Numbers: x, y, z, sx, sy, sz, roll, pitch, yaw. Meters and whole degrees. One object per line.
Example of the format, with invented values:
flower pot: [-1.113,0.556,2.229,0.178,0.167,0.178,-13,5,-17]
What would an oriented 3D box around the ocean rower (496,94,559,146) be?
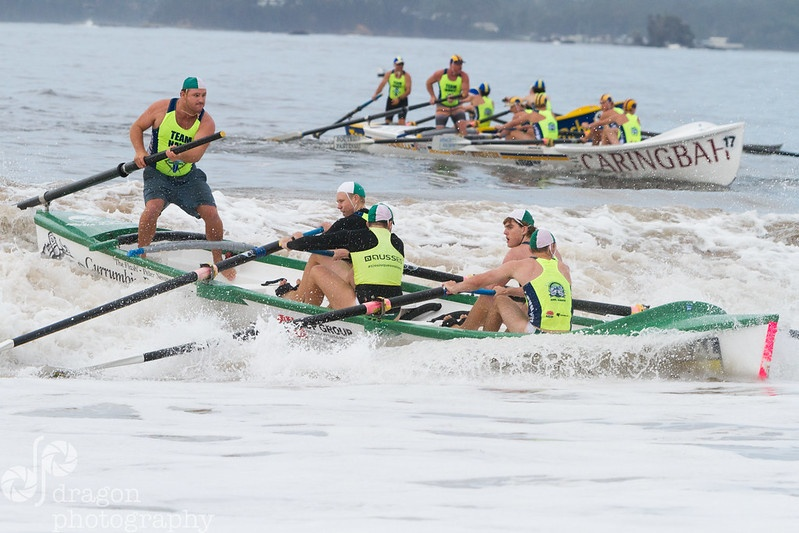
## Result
ocean rower: [2.620,-3.024,24.607,1.382,1.626,1.059,2,10,-2]

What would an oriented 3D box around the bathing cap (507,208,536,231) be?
bathing cap: [1.660,-0.613,14.468,0.338,0.169,0.227,29,-1,-38]

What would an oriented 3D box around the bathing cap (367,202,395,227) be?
bathing cap: [-0.266,-0.678,14.368,0.322,0.277,0.250,0,21,-2]

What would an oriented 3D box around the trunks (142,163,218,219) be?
trunks: [-3.262,-1.197,15.750,1.297,0.931,0.626,8,-1,-3]

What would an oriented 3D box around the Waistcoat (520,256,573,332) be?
Waistcoat: [1.866,0.367,13.775,0.617,0.873,0.482,3,22,5]

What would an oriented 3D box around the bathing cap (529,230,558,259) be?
bathing cap: [1.854,-0.336,14.006,0.293,0.211,0.419,2,6,20]

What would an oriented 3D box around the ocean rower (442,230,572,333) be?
ocean rower: [1.509,0.196,14.186,1.695,1.100,1.475,-6,22,-27]
